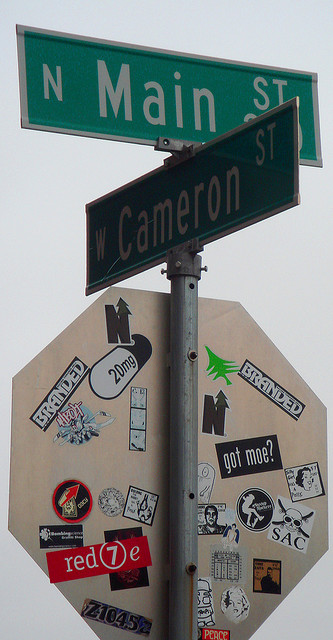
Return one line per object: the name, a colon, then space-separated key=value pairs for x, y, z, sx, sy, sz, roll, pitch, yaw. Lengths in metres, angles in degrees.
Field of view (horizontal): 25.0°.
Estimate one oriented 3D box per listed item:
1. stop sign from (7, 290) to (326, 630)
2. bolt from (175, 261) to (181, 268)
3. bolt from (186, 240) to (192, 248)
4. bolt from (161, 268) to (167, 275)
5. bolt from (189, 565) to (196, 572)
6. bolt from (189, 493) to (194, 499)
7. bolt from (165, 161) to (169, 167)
stop sign: x=-0.041 y=0.630 z=3.096 sx=1.007 sy=1.411 sz=0.013 roll=7 pitch=-12 yaw=-28
bolt: x=0.038 y=-0.180 z=2.467 sx=0.017 sy=0.015 sz=0.025 roll=30 pitch=-25 yaw=6
bolt: x=0.070 y=-0.244 z=2.412 sx=0.010 sy=0.020 sz=0.004 roll=-1 pitch=-1 yaw=38
bolt: x=-0.010 y=-0.165 z=2.615 sx=0.009 sy=0.027 sz=0.038 roll=-9 pitch=8 yaw=-35
bolt: x=0.084 y=0.829 z=2.469 sx=0.015 sy=0.021 sz=0.013 roll=0 pitch=-5 yaw=8
bolt: x=0.080 y=0.586 z=2.450 sx=0.004 sy=0.017 sz=0.022 roll=-5 pitch=-10 yaw=38
bolt: x=0.002 y=-0.532 z=2.541 sx=0.002 sy=0.028 sz=0.016 roll=-1 pitch=3 yaw=-35
